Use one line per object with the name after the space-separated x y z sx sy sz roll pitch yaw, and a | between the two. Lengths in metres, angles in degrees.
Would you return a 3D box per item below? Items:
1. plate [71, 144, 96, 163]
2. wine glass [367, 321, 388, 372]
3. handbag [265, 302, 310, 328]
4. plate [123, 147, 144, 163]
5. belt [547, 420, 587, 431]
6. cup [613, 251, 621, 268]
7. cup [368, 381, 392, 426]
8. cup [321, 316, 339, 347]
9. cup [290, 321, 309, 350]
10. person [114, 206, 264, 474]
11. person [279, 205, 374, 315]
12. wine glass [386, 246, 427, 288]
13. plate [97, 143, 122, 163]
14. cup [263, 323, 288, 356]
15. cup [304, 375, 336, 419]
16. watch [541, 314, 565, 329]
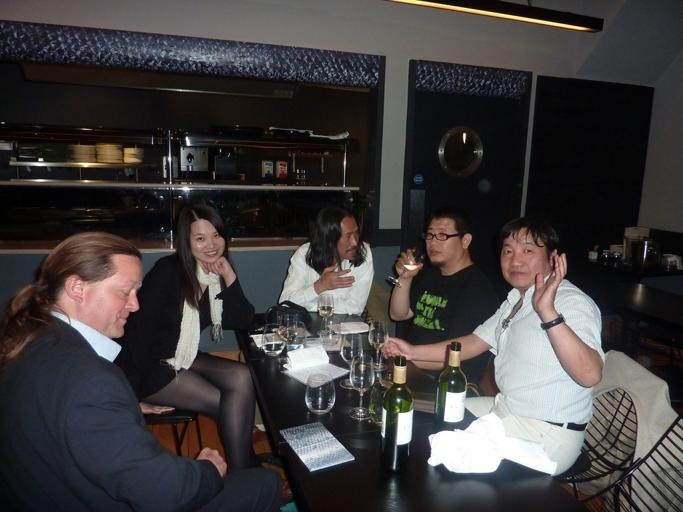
-2.451 -0.975 4.522 0.169 0.129 0.174 11 17 34 | plate
0.178 0.432 2.317 0.103 0.252 0.101 -4 13 -16 | wine glass
-0.305 0.326 2.738 0.195 0.144 0.179 4 -7 -39 | handbag
-2.050 -0.987 4.698 0.153 0.119 0.159 19 23 27 | plate
0.968 0.716 2.014 0.083 0.021 0.080 -1 7 -2 | belt
2.542 0.032 4.380 0.066 0.100 0.208 3 11 30 | cup
0.138 0.584 1.910 0.143 0.153 0.145 -1 -4 0 | cup
-0.045 0.418 2.555 0.114 0.164 0.116 -1 -2 0 | cup
-0.218 0.406 2.379 0.098 0.102 0.097 2 0 0 | cup
-0.859 0.540 2.827 0.974 1.609 0.616 -2 6 4 | person
-0.092 0.050 3.284 0.630 0.767 0.478 1 16 -14 | person
0.462 0.072 3.340 0.366 0.166 0.154 -42 -12 14 | wine glass
-2.224 -0.979 4.591 0.178 0.140 0.185 7 12 22 | plate
-0.335 0.444 2.492 0.109 0.148 0.150 -1 -6 -5 | cup
-0.079 0.560 1.932 0.133 0.137 0.139 -1 8 0 | cup
0.815 0.259 1.852 0.075 0.051 0.083 -8 -9 -1 | watch
